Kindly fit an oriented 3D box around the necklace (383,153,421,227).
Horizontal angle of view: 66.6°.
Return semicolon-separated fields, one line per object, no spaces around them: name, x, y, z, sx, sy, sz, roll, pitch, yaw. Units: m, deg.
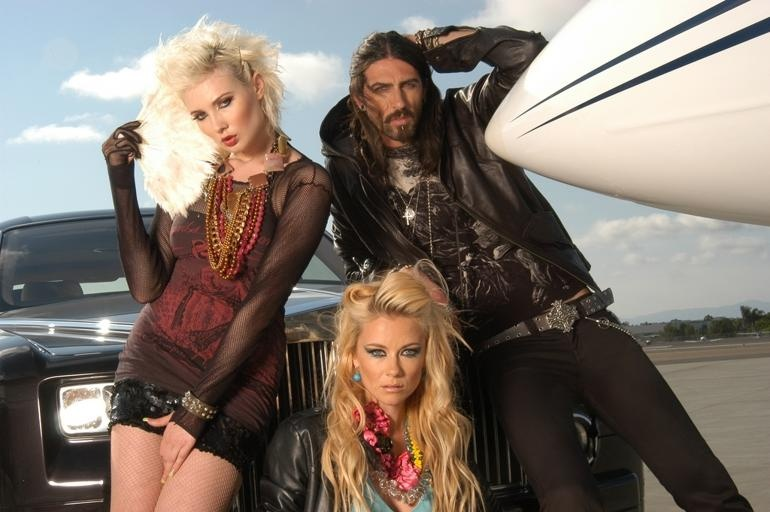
necklace;0.107;-0.318;2.818;0.139;0.380;0.063;-8;5;3

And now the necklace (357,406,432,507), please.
necklace;0.044;0.839;2.377;0.080;0.347;0.352;-28;22;47
